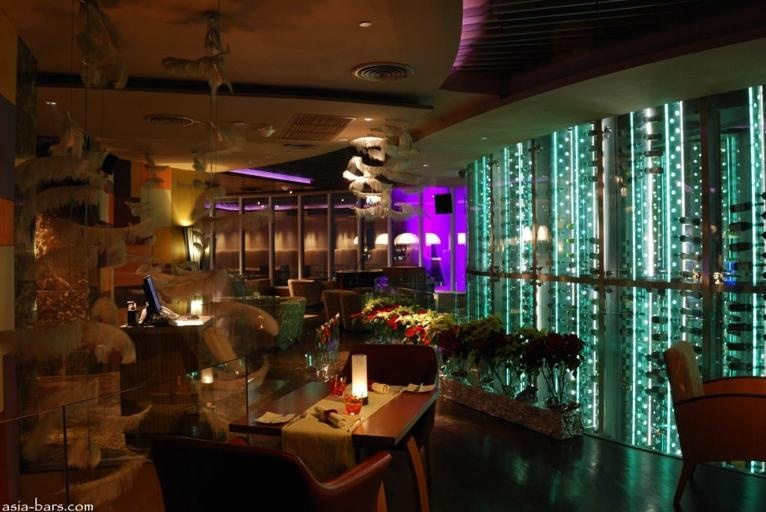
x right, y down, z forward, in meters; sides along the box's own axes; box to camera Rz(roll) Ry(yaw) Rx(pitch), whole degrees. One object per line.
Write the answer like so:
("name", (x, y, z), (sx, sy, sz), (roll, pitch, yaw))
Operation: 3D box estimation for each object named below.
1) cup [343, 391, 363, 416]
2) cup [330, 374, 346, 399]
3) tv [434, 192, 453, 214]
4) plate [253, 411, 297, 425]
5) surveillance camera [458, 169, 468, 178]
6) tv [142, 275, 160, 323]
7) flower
("cup", (-0.233, 1.162, 5.156), (0.149, 0.108, 0.123), (-2, 3, -31))
("cup", (-0.383, 1.088, 5.557), (0.129, 0.118, 0.147), (1, 3, 40))
("tv", (1.294, -1.083, 13.524), (0.438, 0.378, 0.103), (3, 7, 14))
("plate", (-0.840, 1.253, 5.093), (0.315, 0.031, 0.181), (-2, 11, -3))
("surveillance camera", (1.543, -1.599, 12.728), (0.142, 0.126, 0.035), (7, 27, 37))
("tv", (-2.577, 0.453, 7.126), (0.172, 0.449, 0.469), (-3, 7, -14))
("flower", (1.444, 1.120, 7.279), (0.721, 0.831, 2.179), (2, -2, -38))
